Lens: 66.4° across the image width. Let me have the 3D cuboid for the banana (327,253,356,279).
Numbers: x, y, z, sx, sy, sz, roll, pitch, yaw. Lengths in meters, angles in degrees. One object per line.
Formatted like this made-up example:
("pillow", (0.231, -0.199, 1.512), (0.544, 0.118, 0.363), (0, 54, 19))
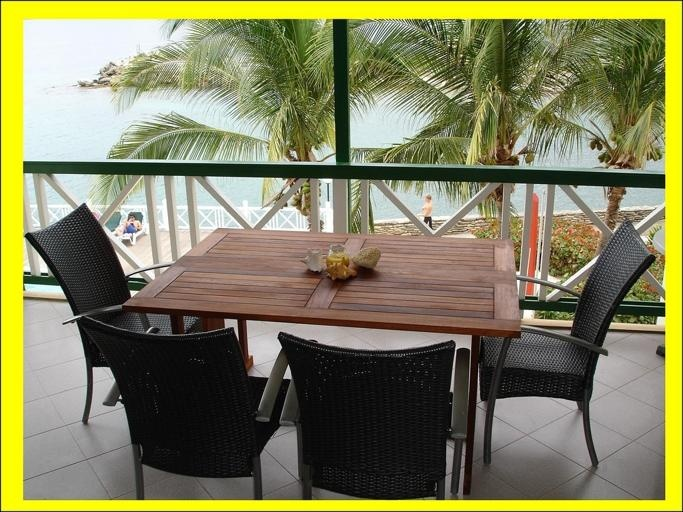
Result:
("banana", (-0.005, 0.047, 2.625), (0.137, 0.059, 0.137), (3, 18, 8))
